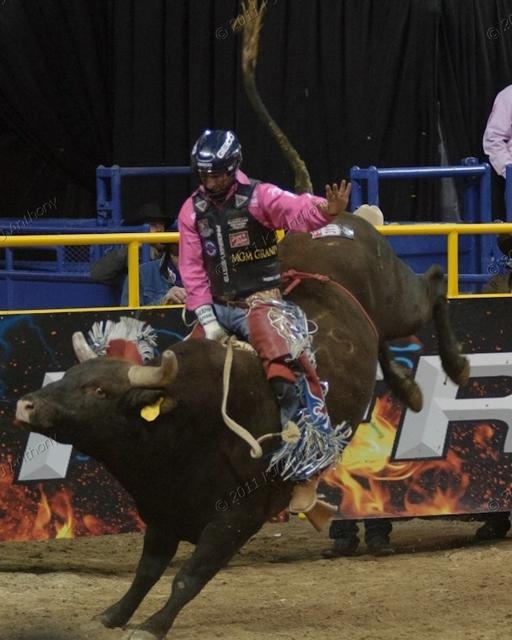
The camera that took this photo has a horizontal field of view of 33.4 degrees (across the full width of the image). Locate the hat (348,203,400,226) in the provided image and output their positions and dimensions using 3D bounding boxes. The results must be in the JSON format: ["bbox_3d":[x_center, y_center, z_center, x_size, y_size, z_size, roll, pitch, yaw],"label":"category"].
[{"bbox_3d":[0.595,-0.550,4.445,0.146,0.087,0.188,17,-1,1],"label":"hat"}]

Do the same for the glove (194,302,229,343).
[{"bbox_3d":[-0.176,0.016,3.614,0.123,0.062,0.168,-25,54,-11],"label":"glove"}]

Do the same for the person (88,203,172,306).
[{"bbox_3d":[-0.997,-0.480,6.436,0.522,0.767,0.740,19,22,41],"label":"person"}]

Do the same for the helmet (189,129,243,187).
[{"bbox_3d":[-0.117,-0.661,3.481,0.225,0.226,0.231,6,36,21],"label":"helmet"}]

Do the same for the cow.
[{"bbox_3d":[0.048,0.235,3.693,0.884,2.010,2.132,-1,-1,24],"label":"cow"}]
